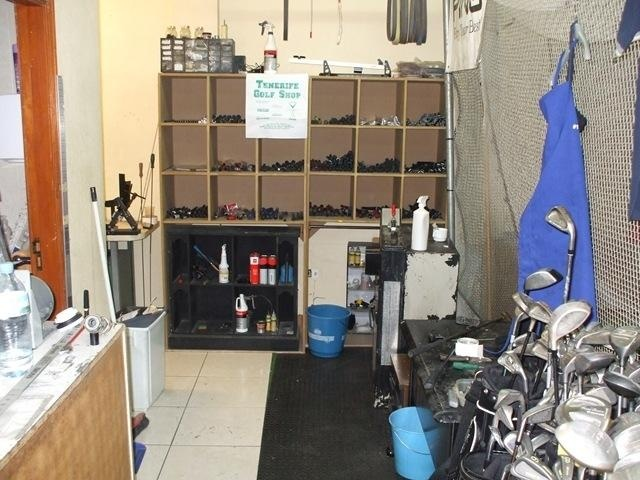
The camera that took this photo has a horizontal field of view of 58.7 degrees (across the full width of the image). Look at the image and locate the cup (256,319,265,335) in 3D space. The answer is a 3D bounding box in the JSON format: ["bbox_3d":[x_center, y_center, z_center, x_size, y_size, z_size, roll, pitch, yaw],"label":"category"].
[{"bbox_3d":[-0.580,0.849,5.503,0.070,0.110,0.118,0,-1,-3],"label":"cup"}]

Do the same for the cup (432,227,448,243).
[{"bbox_3d":[0.911,-0.034,4.318,0.100,0.092,0.108,0,3,0],"label":"cup"}]

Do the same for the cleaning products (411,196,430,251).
[{"bbox_3d":[0.727,-0.134,4.134,0.122,0.374,0.343,2,14,9],"label":"cleaning products"}]

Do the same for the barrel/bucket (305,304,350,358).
[{"bbox_3d":[0.014,0.827,5.355,0.411,0.426,0.419,5,5,0],"label":"barrel/bucket"}]

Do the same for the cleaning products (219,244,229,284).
[{"bbox_3d":[-0.930,0.218,5.449,0.092,0.342,0.279,-2,14,-9],"label":"cleaning products"}]

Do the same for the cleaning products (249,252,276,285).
[{"bbox_3d":[-0.545,0.268,5.407,0.241,0.293,0.263,-1,5,-2],"label":"cleaning products"}]

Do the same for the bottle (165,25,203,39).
[{"bbox_3d":[-1.242,-1.904,5.204,0.335,0.145,0.385,-3,15,-11],"label":"bottle"}]

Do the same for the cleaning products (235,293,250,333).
[{"bbox_3d":[-0.766,0.685,5.511,0.140,0.368,0.311,-2,14,-9],"label":"cleaning products"}]

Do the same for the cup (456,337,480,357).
[{"bbox_3d":[0.817,0.590,3.184,0.096,0.082,0.099,-2,2,0],"label":"cup"}]
